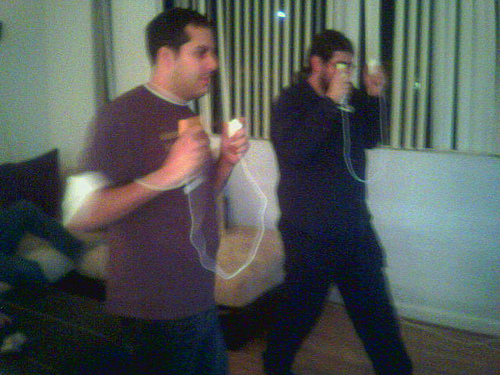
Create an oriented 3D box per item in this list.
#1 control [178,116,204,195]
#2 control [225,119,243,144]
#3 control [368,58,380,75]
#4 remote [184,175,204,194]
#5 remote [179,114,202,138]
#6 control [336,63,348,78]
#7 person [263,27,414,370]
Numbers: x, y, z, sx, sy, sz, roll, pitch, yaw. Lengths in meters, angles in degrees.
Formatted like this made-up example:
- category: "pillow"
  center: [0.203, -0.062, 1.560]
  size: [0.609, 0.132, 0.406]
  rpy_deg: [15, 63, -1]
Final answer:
- category: "control"
  center: [-0.097, -0.054, 0.782]
  size: [0.044, 0.129, 0.074]
  rpy_deg: [2, 13, -6]
- category: "control"
  center: [-0.030, -0.093, 0.798]
  size: [0.021, 0.043, 0.029]
  rpy_deg: [-3, 14, -25]
- category: "control"
  center: [0.200, -0.199, 0.790]
  size: [0.014, 0.026, 0.014]
  rpy_deg: [-3, 14, -25]
- category: "remote"
  center: [-0.100, -0.003, 0.795]
  size: [0.030, 0.007, 0.030]
  rpy_deg: [-34, -10, 10]
- category: "remote"
  center: [-0.095, -0.095, 0.739]
  size: [0.029, 0.023, 0.034]
  rpy_deg: [2, -11, -26]
- category: "control"
  center: [0.150, -0.194, 0.785]
  size: [0.019, 0.014, 0.021]
  rpy_deg: [6, 22, 22]
- category: "person"
  center: [0.173, 0.053, 0.893]
  size: [0.311, 0.654, 0.101]
  rpy_deg: [0, 14, -13]
